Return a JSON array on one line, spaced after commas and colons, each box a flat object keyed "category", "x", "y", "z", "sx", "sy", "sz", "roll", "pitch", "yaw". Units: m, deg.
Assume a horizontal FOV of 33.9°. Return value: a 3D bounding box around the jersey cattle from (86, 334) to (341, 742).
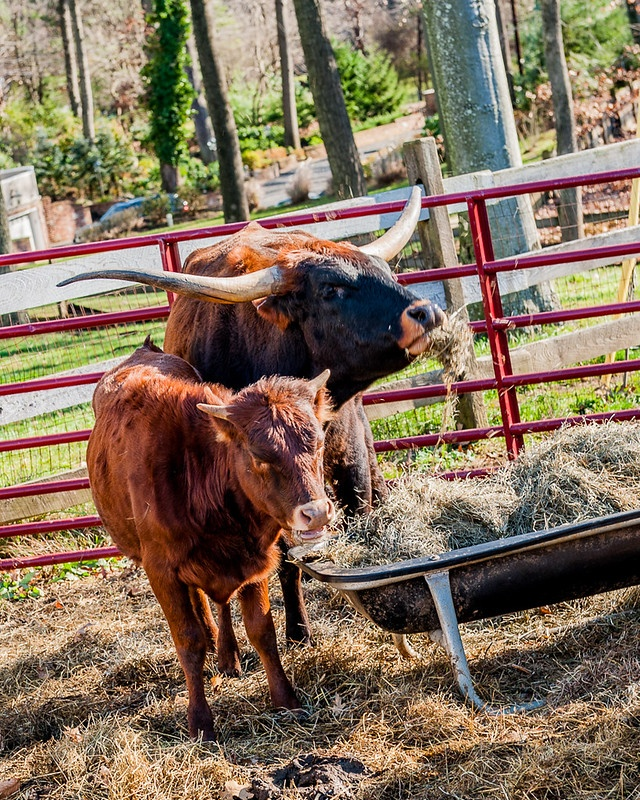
[{"category": "jersey cattle", "x": -0.474, "y": 0.665, "z": 4.478, "sx": 0.784, "sy": 1.422, "sz": 2.364, "roll": -6, "pitch": 1, "yaw": -22}]
